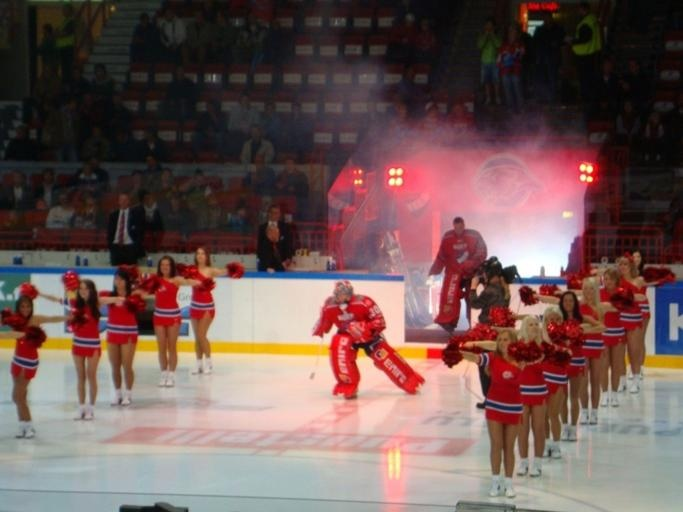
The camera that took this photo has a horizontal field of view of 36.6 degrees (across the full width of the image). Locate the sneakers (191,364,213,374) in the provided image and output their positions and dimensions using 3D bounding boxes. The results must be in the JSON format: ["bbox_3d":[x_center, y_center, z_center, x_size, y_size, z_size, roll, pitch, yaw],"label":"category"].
[{"bbox_3d":[-2.878,2.264,20.768,0.442,0.199,0.173,2,2,11],"label":"sneakers"}]

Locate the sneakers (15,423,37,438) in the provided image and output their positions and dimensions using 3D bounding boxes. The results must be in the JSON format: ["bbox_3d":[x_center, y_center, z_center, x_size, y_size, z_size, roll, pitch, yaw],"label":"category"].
[{"bbox_3d":[-5.139,2.799,16.619,0.371,0.291,0.155,4,-5,-8],"label":"sneakers"}]

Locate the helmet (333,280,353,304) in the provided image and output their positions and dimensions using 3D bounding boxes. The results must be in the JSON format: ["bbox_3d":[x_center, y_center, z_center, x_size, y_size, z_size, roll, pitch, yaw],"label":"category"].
[{"bbox_3d":[0.007,0.646,18.862,0.293,0.393,0.412,1,5,4],"label":"helmet"}]
